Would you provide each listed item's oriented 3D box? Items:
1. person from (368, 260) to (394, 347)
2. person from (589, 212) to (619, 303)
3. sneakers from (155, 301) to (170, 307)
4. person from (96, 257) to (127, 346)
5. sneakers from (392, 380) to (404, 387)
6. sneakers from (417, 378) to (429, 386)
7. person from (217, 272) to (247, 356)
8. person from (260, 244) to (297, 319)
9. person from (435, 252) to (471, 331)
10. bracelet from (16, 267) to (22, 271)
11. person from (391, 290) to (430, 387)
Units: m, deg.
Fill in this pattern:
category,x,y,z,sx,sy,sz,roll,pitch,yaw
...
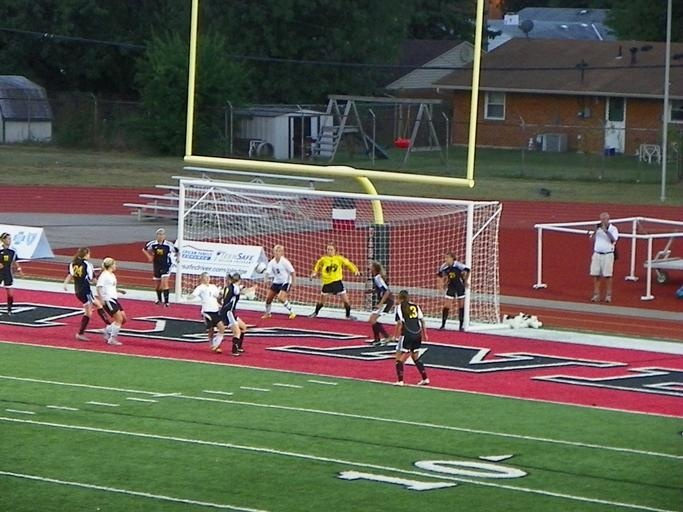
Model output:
category,x,y,z,sx,sy,sz,roll,pitch,yaw
person,0.979,1.220,34.601,0.829,0.712,2.187,5,31,2
person,7.138,0.029,37.613,0.733,2.506,0.943,4,16,9
sneakers,-4.779,1.277,36.791,0.392,0.144,0.132,-1,13,14
person,-5.525,1.057,32.924,0.669,2.013,0.900,-1,16,-9
sneakers,1.265,2.790,30.418,0.225,0.082,0.082,5,9,35
sneakers,1.815,2.776,30.581,0.120,0.110,0.294,-12,7,-41
person,-2.566,1.324,32.561,0.592,1.882,0.990,0,15,-5
person,-1.611,0.658,35.948,0.877,1.961,0.735,1,16,-1
person,2.836,0.890,34.746,0.774,2.043,0.505,2,16,1
bracelet,-8.896,0.342,37.951,0.073,0.061,0.172,7,10,-24
person,1.587,1.808,30.362,0.834,2.095,0.680,0,16,-6
